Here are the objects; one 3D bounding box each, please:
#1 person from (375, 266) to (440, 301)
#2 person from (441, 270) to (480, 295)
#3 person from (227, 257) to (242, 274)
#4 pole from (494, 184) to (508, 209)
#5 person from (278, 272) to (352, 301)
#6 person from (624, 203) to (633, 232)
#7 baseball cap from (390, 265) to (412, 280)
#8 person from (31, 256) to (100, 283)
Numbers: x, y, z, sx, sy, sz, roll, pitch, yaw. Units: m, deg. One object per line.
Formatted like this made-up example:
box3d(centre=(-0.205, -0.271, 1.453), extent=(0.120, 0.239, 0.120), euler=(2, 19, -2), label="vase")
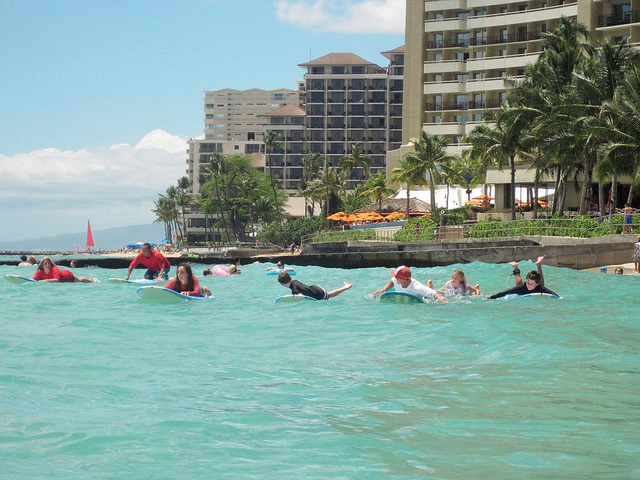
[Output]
box3d(centre=(2.579, 1.216, 32.495), extent=(1.806, 0.962, 0.837), euler=(8, 17, 36), label="person")
box3d(centre=(4.265, 1.312, 33.368), extent=(0.721, 0.529, 0.996), euler=(-8, -14, 34), label="person")
box3d(centre=(-3.843, 1.148, 50.486), extent=(0.491, 0.458, 1.433), euler=(-5, 2, -8), label="person")
box3d(centre=(11.629, -2.815, 70.870), extent=(0.767, 1.546, 0.754), euler=(1, 15, 10), label="pole")
box3d(centre=(-0.368, 1.487, 33.855), extent=(1.533, 0.592, 1.071), euler=(5, -2, 6), label="person")
box3d(centre=(12.775, -0.840, 45.893), extent=(0.335, 0.887, 0.846), euler=(2, 15, 16), label="person")
box3d(centre=(2.385, 0.912, 32.401), extent=(0.549, 0.287, 0.358), euler=(18, 25, 10), label="baseball cap")
box3d(centre=(-9.031, 1.055, 39.298), extent=(2.167, 0.849, 0.870), euler=(4, 2, 3), label="person")
